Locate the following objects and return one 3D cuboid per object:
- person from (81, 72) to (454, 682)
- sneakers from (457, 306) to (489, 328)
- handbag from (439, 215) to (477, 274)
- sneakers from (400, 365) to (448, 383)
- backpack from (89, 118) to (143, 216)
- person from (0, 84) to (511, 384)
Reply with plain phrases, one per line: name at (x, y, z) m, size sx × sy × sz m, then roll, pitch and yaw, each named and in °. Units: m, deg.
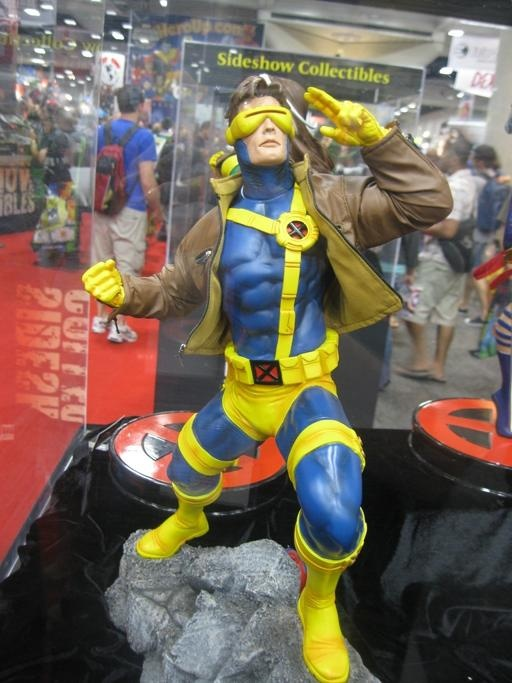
person at (0.051, 0.094, 1.575) m, size 0.998 × 1.645 × 0.616 m, roll 19°, pitch 24°, yaw 30°
sneakers at (0.810, -0.082, 1.962) m, size 0.136 × 0.055 × 0.048 m, roll 1°, pitch 24°, yaw -4°
handbag at (0.698, -0.340, 1.789) m, size 0.142 × 0.197 × 0.109 m, roll -13°, pitch 9°, yaw 2°
sneakers at (0.661, 0.132, 2.100) m, size 0.197 × 0.080 × 0.066 m, roll 5°, pitch 14°, yaw 28°
backpack at (-0.611, -0.736, 2.247) m, size 0.200 × 0.355 × 0.164 m, roll 21°, pitch 24°, yaw 24°
person at (0.015, -0.372, 1.735) m, size 1.136 × 0.862 × 0.422 m, roll -5°, pitch 16°, yaw 0°
